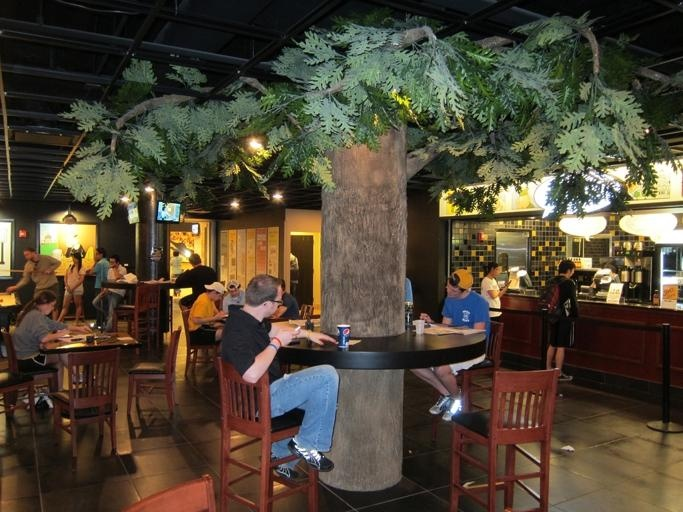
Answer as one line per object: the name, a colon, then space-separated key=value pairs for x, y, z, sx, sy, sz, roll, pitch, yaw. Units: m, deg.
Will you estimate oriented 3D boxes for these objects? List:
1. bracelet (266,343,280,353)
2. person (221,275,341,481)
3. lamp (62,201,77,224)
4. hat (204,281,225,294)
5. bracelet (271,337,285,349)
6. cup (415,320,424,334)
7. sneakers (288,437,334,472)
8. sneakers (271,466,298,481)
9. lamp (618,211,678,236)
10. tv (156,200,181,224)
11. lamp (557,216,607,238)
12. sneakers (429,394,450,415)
bracelet: x=-0.526 y=0.719 z=4.218 sx=0.072 sy=0.053 sz=0.071 roll=1 pitch=-8 yaw=-3
person: x=-0.497 y=0.973 z=4.373 sx=0.919 sy=1.631 sz=0.612 roll=0 pitch=2 yaw=-5
lamp: x=-7.660 y=-1.170 z=15.333 sx=0.323 sy=0.518 sz=1.379 roll=-1 pitch=1 yaw=-26
hat: x=-1.915 y=0.490 z=8.261 sx=0.282 sy=0.111 sz=0.196 roll=19 pitch=-6 yaw=-36
bracelet: x=-0.490 y=0.676 z=4.252 sx=0.102 sy=0.102 sz=0.098 roll=0 pitch=-1 yaw=15
cup: x=0.734 y=0.661 z=5.064 sx=0.109 sy=0.118 sz=0.107 roll=2 pitch=-3 yaw=0
sneakers: x=-0.247 y=1.546 z=4.221 sx=0.359 sy=0.246 sz=0.193 roll=0 pitch=1 yaw=2
sneakers: x=-0.461 y=1.756 z=4.457 sx=0.235 sy=0.099 sz=0.086 roll=4 pitch=-2 yaw=37
lamp: x=4.675 y=-0.471 z=8.342 sx=0.678 sy=0.162 sz=0.674 roll=1 pitch=-3 yaw=-7
tv: x=-3.744 y=-0.935 z=11.747 sx=0.509 sy=0.458 sz=0.396 roll=-1 pitch=1 yaw=-18
lamp: x=3.967 y=-0.474 z=8.871 sx=0.549 sy=0.182 sz=0.551 roll=-4 pitch=-11 yaw=27
sneakers: x=1.042 y=1.593 z=5.806 sx=0.124 sy=0.128 sz=0.323 roll=-3 pitch=-8 yaw=41
